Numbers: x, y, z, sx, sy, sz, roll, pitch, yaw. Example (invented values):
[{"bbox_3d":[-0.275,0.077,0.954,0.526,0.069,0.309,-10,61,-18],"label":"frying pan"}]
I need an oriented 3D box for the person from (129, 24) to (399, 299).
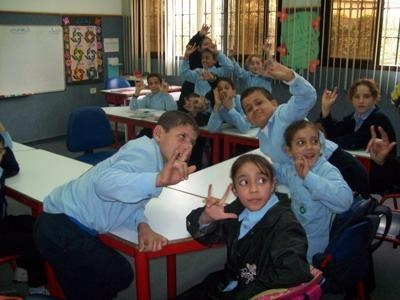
[{"bbox_3d":[0.591,-0.032,2.511,0.986,1.338,2.575,-10,17,-40],"label":"person"}]
